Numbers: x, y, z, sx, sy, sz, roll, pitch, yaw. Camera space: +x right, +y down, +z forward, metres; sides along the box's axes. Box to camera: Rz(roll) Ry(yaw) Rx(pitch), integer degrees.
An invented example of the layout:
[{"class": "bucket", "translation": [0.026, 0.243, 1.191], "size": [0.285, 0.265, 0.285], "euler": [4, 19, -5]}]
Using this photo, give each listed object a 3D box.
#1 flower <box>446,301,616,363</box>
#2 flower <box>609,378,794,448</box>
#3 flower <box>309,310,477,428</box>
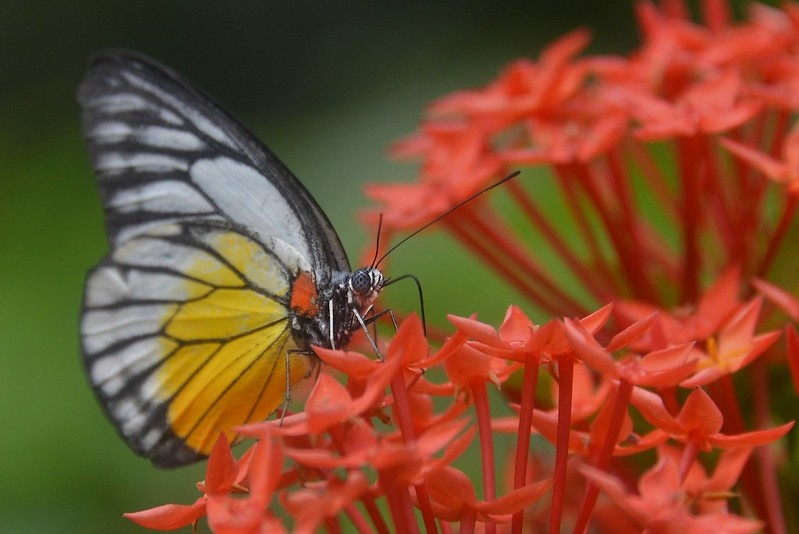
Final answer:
[{"class": "flower", "translation": [0.188, 0.099, 1.274], "size": [0.244, 0.081, 0.220], "euler": [-2, 4, -19]}, {"class": "flower", "translation": [0.433, 0.224, 1.233], "size": [0.143, 0.079, 0.129], "euler": [18, -14, 1]}, {"class": "flower", "translation": [-0.004, 0.136, 1.237], "size": [0.186, 0.093, 0.146], "euler": [-1, -5, -34]}]
